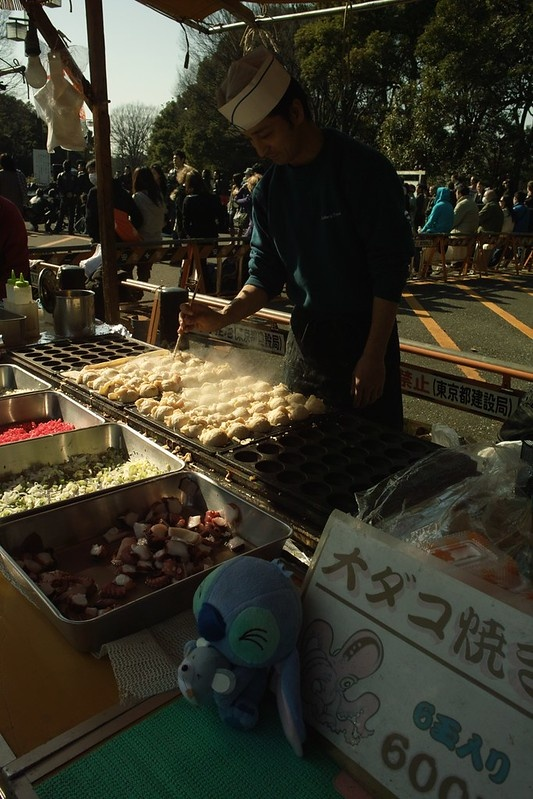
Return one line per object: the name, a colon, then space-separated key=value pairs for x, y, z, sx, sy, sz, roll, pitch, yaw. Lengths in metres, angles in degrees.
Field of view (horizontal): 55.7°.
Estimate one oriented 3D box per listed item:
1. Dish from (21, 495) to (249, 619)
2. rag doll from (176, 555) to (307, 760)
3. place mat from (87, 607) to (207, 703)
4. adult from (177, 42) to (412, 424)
Dish: x=-0.294 y=0.386 z=1.224 sx=0.260 sy=0.058 sz=0.270 roll=-14 pitch=19 yaw=-33
rag doll: x=-0.033 y=0.384 z=0.723 sx=0.143 sy=0.212 sz=0.206 roll=5 pitch=11 yaw=-30
place mat: x=-0.199 y=0.450 z=0.904 sx=0.117 sy=0.026 sz=0.115 roll=-11 pitch=33 yaw=-26
adult: x=0.171 y=-0.591 z=2.043 sx=0.841 sy=1.423 sz=0.738 roll=11 pitch=15 yaw=24
